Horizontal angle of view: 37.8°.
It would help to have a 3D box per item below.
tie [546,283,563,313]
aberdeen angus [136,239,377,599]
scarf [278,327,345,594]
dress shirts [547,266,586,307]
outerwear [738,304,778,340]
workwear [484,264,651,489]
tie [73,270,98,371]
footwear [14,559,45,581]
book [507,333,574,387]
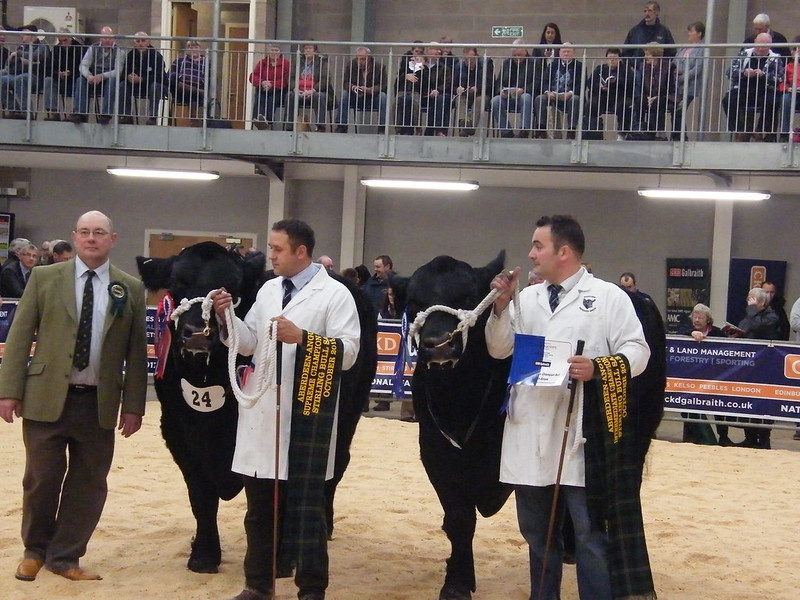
[{"bbox_3d":[1.347,-0.022,10.255,0.126,0.230,0.052,0,-11,32],"label":"tie"},{"bbox_3d":[-1.844,0.992,12.032,1.201,3.443,4.250,-4,8,-8],"label":"aberdeen angus"},{"bbox_3d":[-0.820,1.326,10.098,0.448,2.106,0.162,8,6,29],"label":"scarf"},{"bbox_3d":[1.453,-0.106,10.328,0.363,0.297,0.278,-20,-7,-21],"label":"dress shirts"},{"bbox_3d":[4.911,0.354,16.106,0.389,0.709,0.579,3,0,2],"label":"outerwear"},{"bbox_3d":[1.412,0.699,10.124,1.607,2.437,1.199,-3,-10,38],"label":"workwear"},{"bbox_3d":[-2.883,0.183,10.703,0.132,0.905,0.234,2,4,3],"label":"tie"},{"bbox_3d":[-3.392,2.487,10.667,0.210,0.184,0.129,1,4,-19],"label":"footwear"},{"bbox_3d":[1.201,0.538,9.975,0.512,0.493,0.063,3,-28,17],"label":"book"}]
